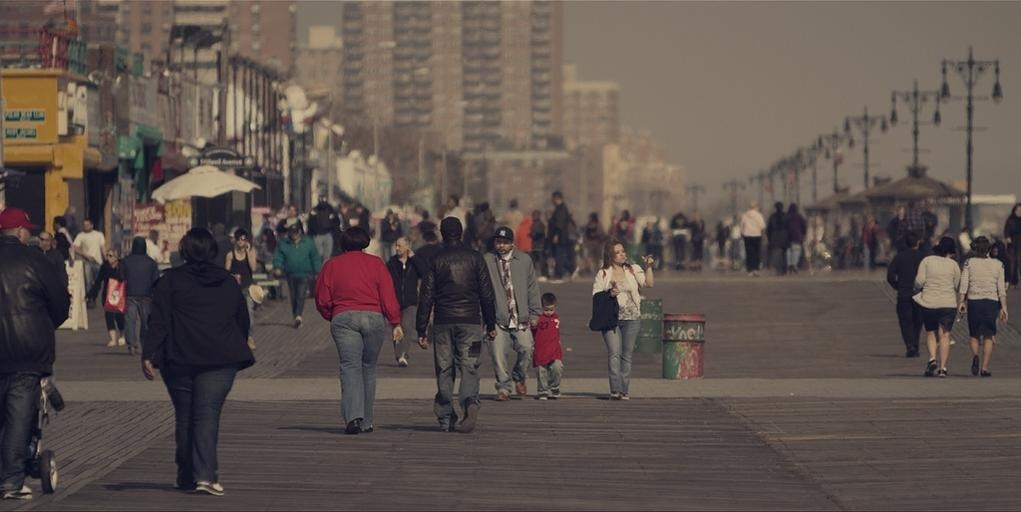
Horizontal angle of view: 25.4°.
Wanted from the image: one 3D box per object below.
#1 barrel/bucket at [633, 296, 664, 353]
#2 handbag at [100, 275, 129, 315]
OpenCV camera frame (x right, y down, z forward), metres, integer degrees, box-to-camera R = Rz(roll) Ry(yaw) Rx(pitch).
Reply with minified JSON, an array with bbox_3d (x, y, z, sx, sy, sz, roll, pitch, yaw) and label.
[{"bbox_3d":[4.519,2.332,74.497,0.919,1.745,0.940,1,-1,0],"label":"barrel/bucket"},{"bbox_3d":[-13.402,1.360,76.408,0.835,1.161,0.375,0,-1,10],"label":"handbag"}]
